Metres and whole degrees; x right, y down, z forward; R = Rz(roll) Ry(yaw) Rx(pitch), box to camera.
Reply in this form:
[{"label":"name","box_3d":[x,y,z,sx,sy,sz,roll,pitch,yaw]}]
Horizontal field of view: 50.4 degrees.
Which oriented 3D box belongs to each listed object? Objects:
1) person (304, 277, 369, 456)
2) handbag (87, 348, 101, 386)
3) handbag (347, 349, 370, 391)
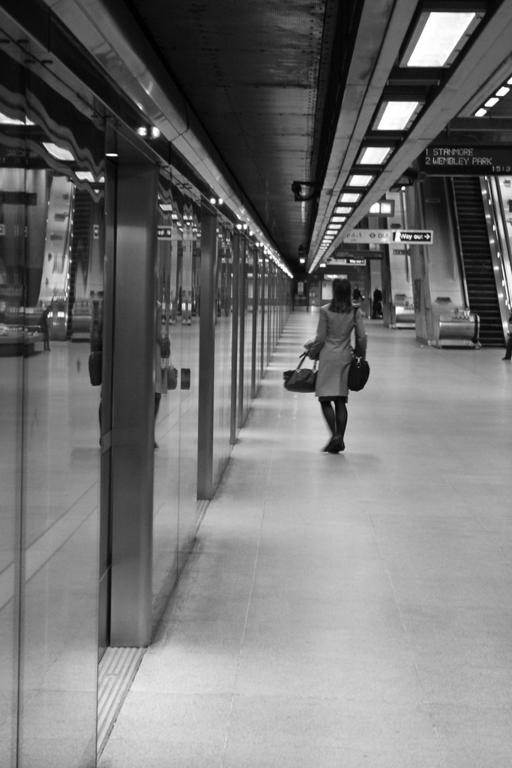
[{"label":"person","box_3d":[1.018,-0.233,6.804,0.757,2.215,0.720,0,-1,41]},{"label":"handbag","box_3d":[-0.532,-0.050,1.776,0.021,0.114,0.278,0,1,-12]},{"label":"handbag","box_3d":[1.310,-0.108,6.942,0.253,0.762,0.444,0,-5,7]}]
